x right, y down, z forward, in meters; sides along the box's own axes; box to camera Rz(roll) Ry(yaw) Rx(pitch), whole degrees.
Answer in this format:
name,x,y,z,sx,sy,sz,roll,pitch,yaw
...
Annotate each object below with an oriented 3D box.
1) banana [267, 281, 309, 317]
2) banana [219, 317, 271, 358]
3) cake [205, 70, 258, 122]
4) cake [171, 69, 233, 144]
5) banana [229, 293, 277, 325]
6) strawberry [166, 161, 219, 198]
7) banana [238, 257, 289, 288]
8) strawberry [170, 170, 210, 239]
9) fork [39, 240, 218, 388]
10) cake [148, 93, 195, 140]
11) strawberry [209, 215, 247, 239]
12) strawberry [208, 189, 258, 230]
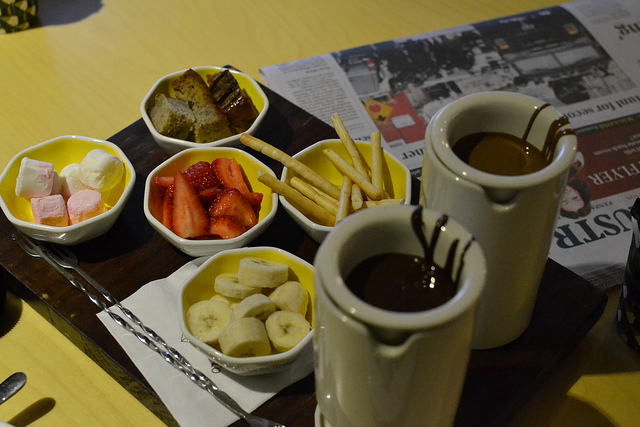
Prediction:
name,x,y,z,sx,sy,sz,roll,pitch,yaw
banana,-0.068,0.171,1.150,0.065,0.066,0.073,30,45,31
banana,-0.148,0.246,1.053,0.091,0.074,0.050,-21,41,-4
cake,-0.245,-0.307,1.481,0.087,0.057,0.173,-28,68,-2
cake,-0.312,-0.276,1.423,0.127,0.077,0.239,-19,71,-13
banana,-0.133,0.186,1.079,0.061,0.064,0.018,-16,50,-31
strawberry,-0.294,-0.081,1.360,0.117,0.181,0.068,-5,78,0
banana,-0.121,0.121,1.110,0.068,0.031,0.071,7,11,-19
strawberry,-0.316,-0.013,1.245,0.085,0.087,0.139,-28,44,-13
fork,-0.402,0.221,1.133,0.418,0.031,0.050,40,56,15
cake,-0.381,-0.245,1.383,0.110,0.040,0.126,4,77,13
strawberry,-0.218,0.033,1.226,0.057,0.021,0.059,-30,71,-16
strawberry,-0.205,-0.028,1.290,0.090,0.100,0.041,-18,11,11
